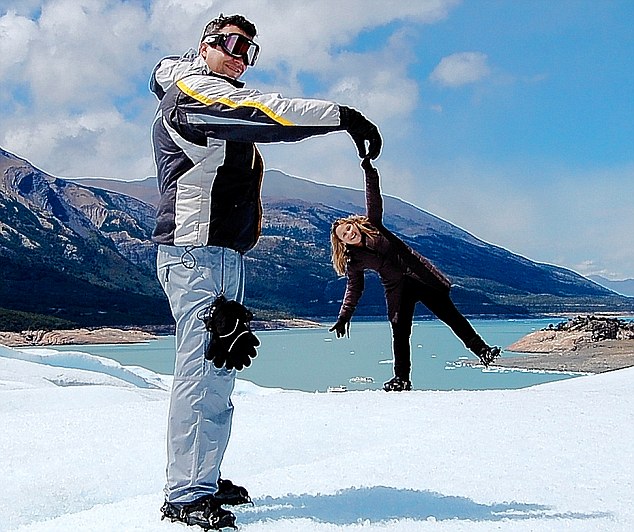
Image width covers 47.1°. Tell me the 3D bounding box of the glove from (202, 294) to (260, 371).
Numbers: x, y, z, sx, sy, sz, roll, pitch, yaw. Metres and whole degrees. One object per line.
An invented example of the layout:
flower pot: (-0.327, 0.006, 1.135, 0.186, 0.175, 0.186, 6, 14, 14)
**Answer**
glove: (-0.813, 0.619, 6.650, 0.528, 0.673, 0.143, 1, -4, -8)
